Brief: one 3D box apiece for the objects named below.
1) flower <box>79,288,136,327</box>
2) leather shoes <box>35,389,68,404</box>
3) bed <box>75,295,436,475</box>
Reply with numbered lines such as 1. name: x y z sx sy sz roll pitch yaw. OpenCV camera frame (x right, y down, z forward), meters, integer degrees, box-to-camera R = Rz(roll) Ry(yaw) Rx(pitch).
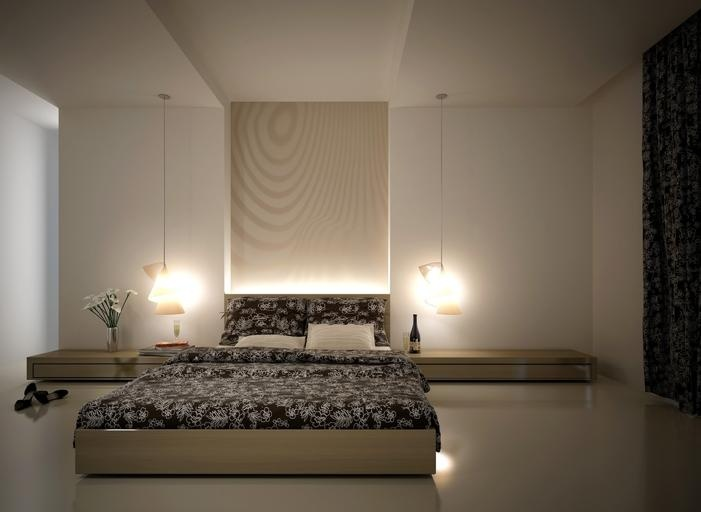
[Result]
1. flower: -2.788 0.633 6.248 0.529 0.411 0.573 -5 -6 -17
2. leather shoes: -2.957 1.375 5.276 0.120 0.096 0.350 7 0 16
3. bed: -0.557 1.013 5.040 2.574 0.693 2.935 1 9 4
